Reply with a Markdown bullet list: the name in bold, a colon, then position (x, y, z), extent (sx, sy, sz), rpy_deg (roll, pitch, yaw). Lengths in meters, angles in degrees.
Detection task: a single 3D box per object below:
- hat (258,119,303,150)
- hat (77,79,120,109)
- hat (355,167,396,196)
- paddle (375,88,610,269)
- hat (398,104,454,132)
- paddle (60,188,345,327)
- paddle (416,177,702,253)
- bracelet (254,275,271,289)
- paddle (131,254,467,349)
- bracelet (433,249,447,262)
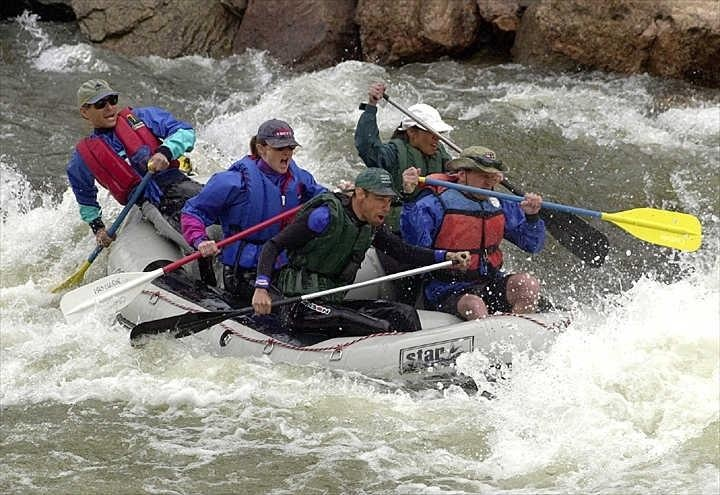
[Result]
- **hat**: position (-0.725, -1.035, 8.778), extent (0.339, 0.192, 0.240), rpy_deg (7, 11, 29)
- **hat**: position (-2.699, -1.527, 9.576), extent (0.402, 0.200, 0.295), rpy_deg (-10, 10, 46)
- **hat**: position (0.138, -0.571, 8.401), extent (0.311, 0.165, 0.227), rpy_deg (11, 6, 14)
- **paddle**: position (1.467, -0.690, 10.154), extent (3.272, 0.455, 0.349), rpy_deg (38, 2, -7)
- **hat**: position (0.646, -1.293, 9.516), extent (0.457, 0.242, 0.328), rpy_deg (4, 13, 15)
- **paddle**: position (-1.381, 0.107, 8.996), extent (2.603, 0.193, 0.377), rpy_deg (-24, 55, 1)
- **paddle**: position (2.006, -0.300, 9.574), extent (2.776, 0.423, 0.183), rpy_deg (15, -3, 5)
- **bracelet**: position (-0.870, 0.301, 8.428), extent (0.145, 0.132, 0.125), rpy_deg (2, 27, 9)
- **paddle**: position (-0.542, 0.525, 8.769), extent (3.437, 0.498, 0.169), rpy_deg (-11, 7, 9)
- **bracelet**: position (0.720, 0.074, 8.721), extent (0.081, 0.111, 0.040), rpy_deg (-2, -3, 5)
